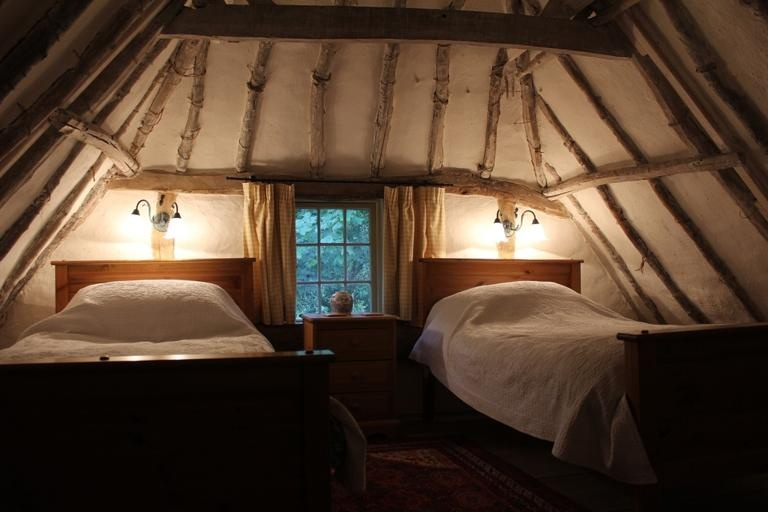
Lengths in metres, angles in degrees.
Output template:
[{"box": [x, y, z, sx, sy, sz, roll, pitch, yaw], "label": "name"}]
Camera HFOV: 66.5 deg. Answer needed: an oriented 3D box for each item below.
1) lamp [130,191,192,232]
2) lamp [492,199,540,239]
[{"box": [-1.876, -0.376, 4.827, 0.362, 0.298, 0.186, -4, 40, -25], "label": "lamp"}, {"box": [1.271, -0.303, 5.493, 0.441, 0.255, 0.171, -4, 30, 23], "label": "lamp"}]
